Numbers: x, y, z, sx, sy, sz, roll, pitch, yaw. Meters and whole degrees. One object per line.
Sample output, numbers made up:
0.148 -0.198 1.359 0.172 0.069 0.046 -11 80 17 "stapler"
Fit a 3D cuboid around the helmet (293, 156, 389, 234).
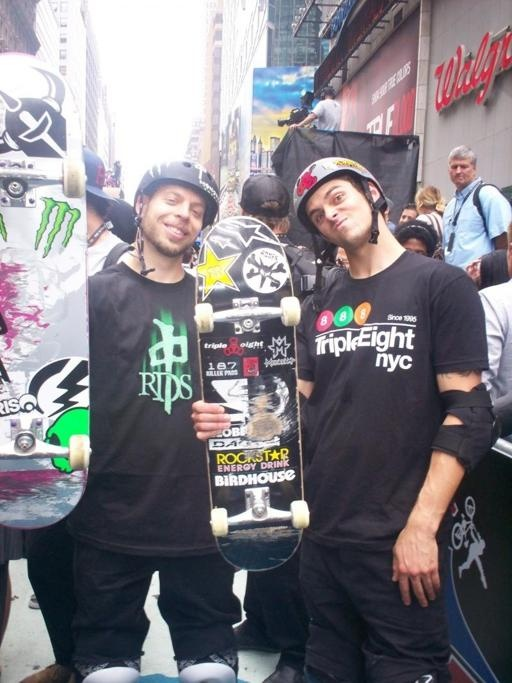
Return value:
0.256 -0.452 1.893 0.306 0.283 0.254 2 6 23 "helmet"
